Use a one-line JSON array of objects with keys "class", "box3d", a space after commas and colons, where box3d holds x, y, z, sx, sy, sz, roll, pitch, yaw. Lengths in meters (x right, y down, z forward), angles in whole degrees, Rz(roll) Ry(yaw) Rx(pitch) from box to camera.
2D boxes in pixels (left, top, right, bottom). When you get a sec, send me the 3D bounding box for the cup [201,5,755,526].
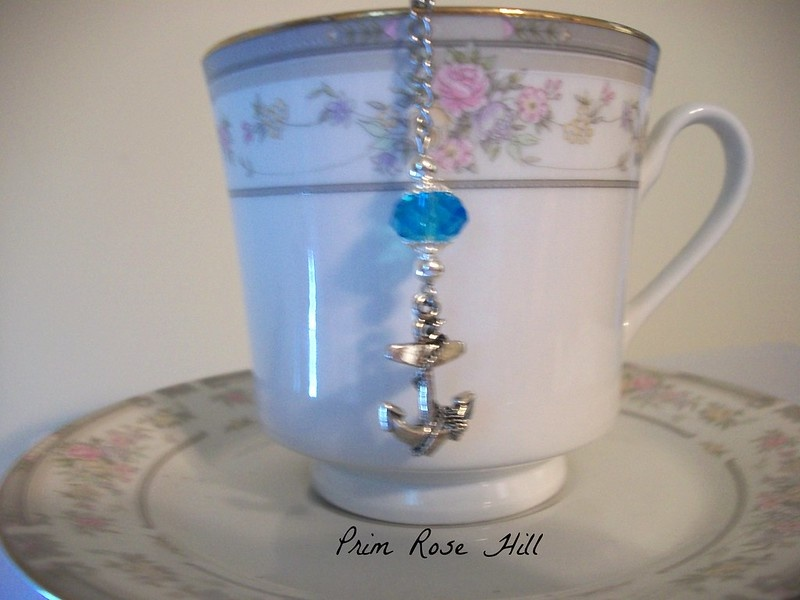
[{"class": "cup", "box3d": [0.043, -0.035, 0.780, 0.495, 0.368, 0.385, -1, 6, -2]}]
